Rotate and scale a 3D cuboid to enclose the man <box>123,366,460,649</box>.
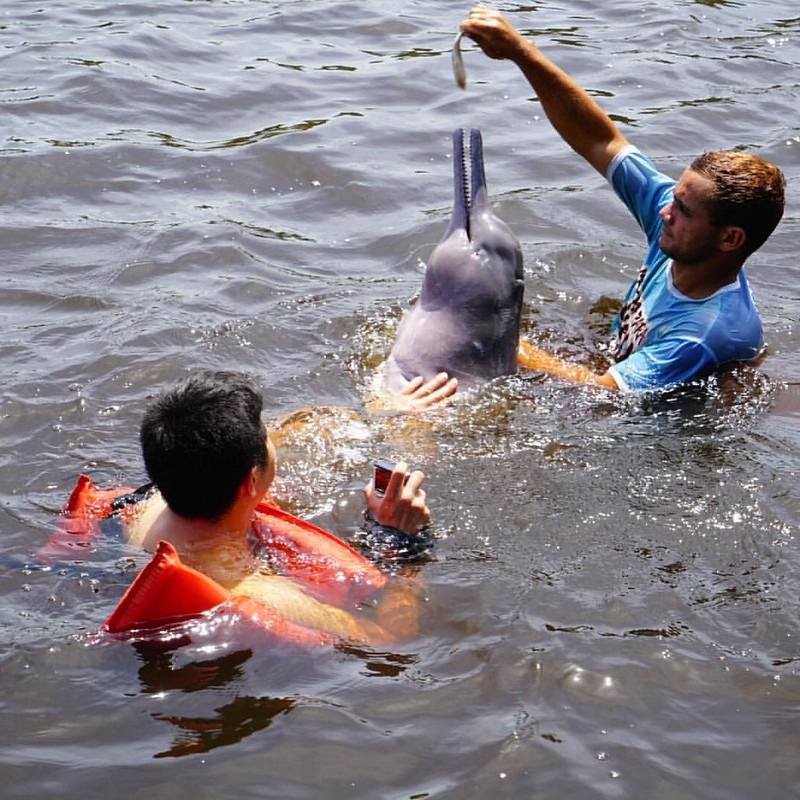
[{"bbox_3d":[-0.532,0.394,4.132,1.324,0.777,0.806,29,67,29],"label":"man"}]

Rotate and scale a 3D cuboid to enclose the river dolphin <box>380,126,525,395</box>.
[{"bbox_3d":[0.448,-0.722,5.793,0.716,1.365,0.666,14,5,9],"label":"river dolphin"}]

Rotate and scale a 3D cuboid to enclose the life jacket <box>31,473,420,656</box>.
[{"bbox_3d":[-0.694,0.588,3.863,1.012,0.248,0.647,19,12,2],"label":"life jacket"}]
